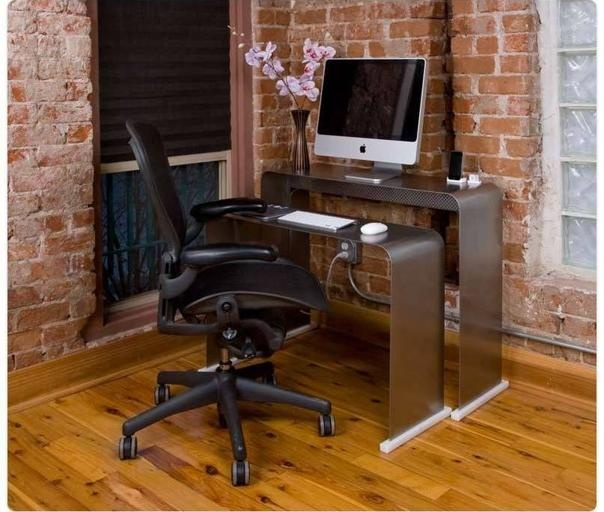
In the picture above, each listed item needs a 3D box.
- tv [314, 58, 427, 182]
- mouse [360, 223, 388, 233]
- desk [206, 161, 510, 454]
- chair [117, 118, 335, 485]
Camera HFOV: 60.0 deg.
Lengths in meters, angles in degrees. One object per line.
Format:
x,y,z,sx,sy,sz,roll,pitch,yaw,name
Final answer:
0.336,-0.656,2.484,0.593,0.587,0.217,8,11,44,tv
0.278,-0.107,2.013,0.079,0.038,0.151,6,15,24,mouse
0.335,0.117,2.563,1.415,1.146,1.105,5,9,42,desk
-0.261,0.023,2.463,1.068,1.559,1.183,-1,10,-4,chair
